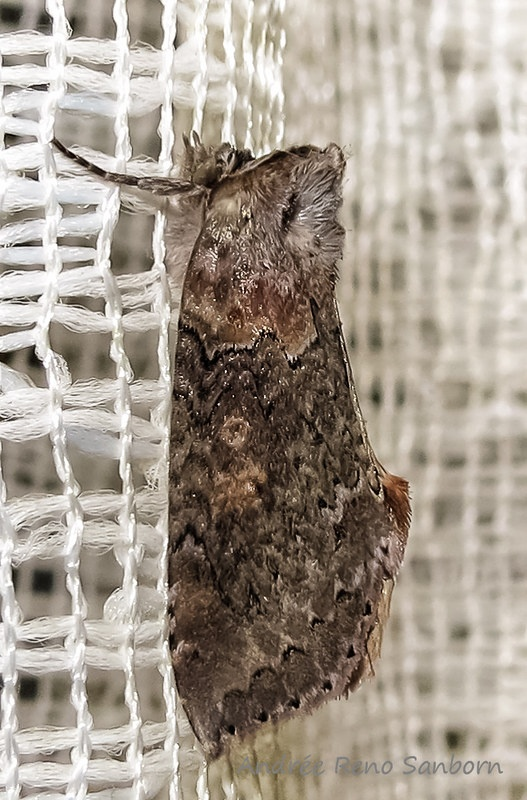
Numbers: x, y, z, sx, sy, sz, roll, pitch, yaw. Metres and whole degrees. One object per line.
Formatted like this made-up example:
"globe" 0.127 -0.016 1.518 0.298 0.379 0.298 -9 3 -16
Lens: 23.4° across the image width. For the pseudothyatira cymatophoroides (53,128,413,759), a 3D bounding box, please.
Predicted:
"pseudothyatira cymatophoroides" 0.002 0.010 0.567 0.078 0.264 0.224 5 106 35
